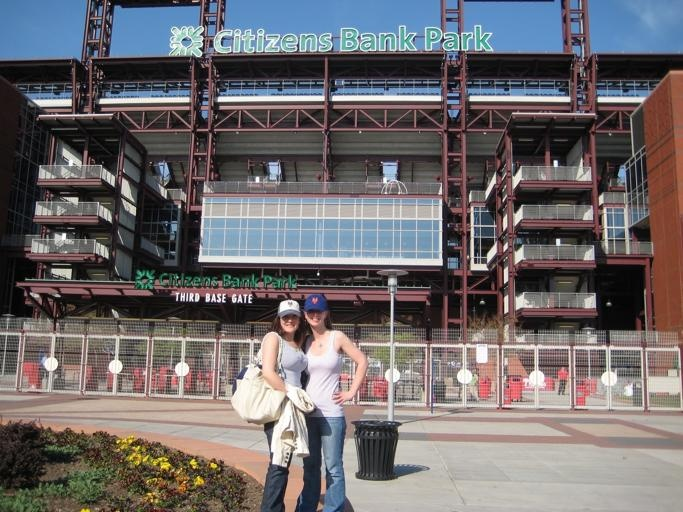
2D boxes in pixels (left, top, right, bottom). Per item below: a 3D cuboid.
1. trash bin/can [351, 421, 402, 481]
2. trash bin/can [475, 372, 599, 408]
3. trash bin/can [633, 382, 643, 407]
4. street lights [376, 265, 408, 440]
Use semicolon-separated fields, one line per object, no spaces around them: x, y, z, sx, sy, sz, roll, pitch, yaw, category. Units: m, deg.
0.761;4.224;15.290;1.298;1.307;1.189;-1;-14;5;trash bin/can
8.209;5.548;28.392;4.628;1.360;1.129;3;-13;-6;trash bin/can
12.195;5.687;28.317;0.350;0.950;0.525;-4;-14;23;trash bin/can
1.627;2.887;21.790;0.876;4.734;0.895;1;-15;4;street lights
